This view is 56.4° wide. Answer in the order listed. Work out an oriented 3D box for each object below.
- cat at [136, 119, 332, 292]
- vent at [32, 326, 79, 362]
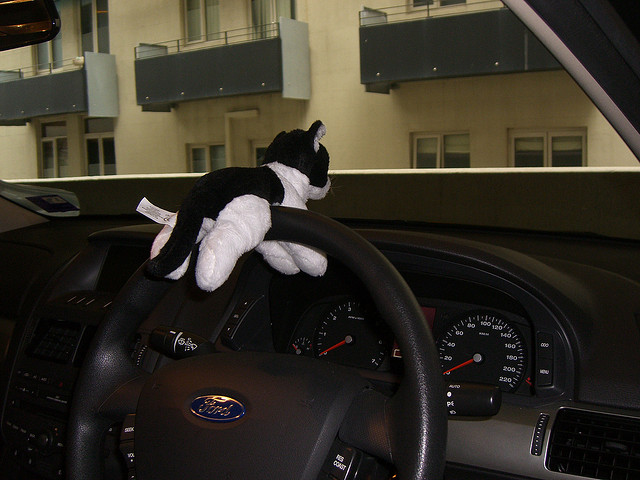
[{"bbox_3d":[-0.109,-0.051,0.912,0.189,0.241,0.412,3,10,26],"label":"cat"},{"bbox_3d":[-0.721,0.285,1.652,0.099,0.088,0.106,7,13,31],"label":"vent"}]
